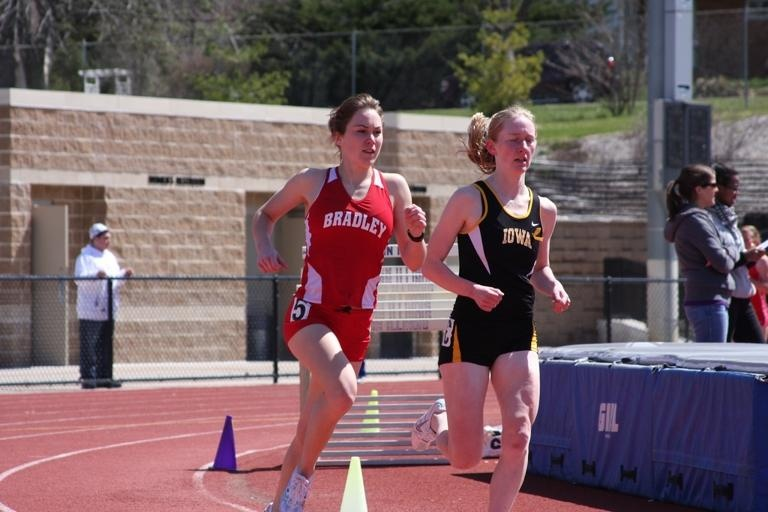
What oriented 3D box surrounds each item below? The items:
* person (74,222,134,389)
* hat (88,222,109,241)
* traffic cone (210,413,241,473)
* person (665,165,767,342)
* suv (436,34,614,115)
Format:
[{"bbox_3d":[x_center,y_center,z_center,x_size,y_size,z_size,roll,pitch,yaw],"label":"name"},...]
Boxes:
[{"bbox_3d":[-5.178,0.864,26.693,0.820,2.992,0.799,0,5,13],"label":"person"},{"bbox_3d":[-5.165,-0.486,26.549,0.314,0.277,0.257,-1,5,-1],"label":"hat"},{"bbox_3d":[-2.257,2.575,20.710,0.352,0.769,0.450,-2,5,-7],"label":"traffic cone"},{"bbox_3d":[4.604,-0.076,20.895,1.157,2.503,0.907,0,5,10],"label":"person"},{"bbox_3d":[4.533,-5.211,41.141,5.104,1.734,2.039,4,6,37],"label":"suv"}]
